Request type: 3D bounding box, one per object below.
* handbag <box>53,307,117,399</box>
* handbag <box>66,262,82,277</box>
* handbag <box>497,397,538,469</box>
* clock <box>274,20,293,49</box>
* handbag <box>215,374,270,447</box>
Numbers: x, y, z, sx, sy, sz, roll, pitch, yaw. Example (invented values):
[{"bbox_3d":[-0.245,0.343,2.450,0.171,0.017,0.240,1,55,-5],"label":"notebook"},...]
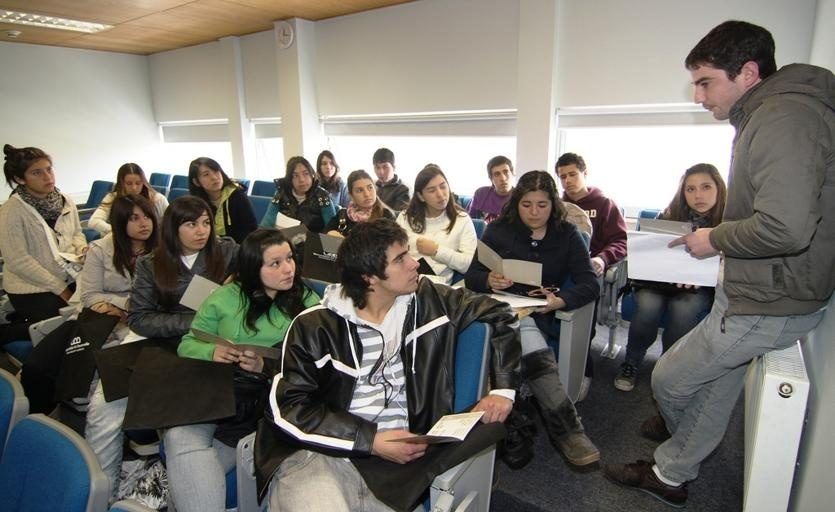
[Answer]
[{"bbox_3d":[-2.223,0.661,3.584,0.419,0.554,0.151,1,-24,29],"label":"handbag"},{"bbox_3d":[-2.861,0.110,4.421,0.060,0.114,0.086,-24,1,38],"label":"handbag"},{"bbox_3d":[0.691,1.156,3.639,0.207,0.368,0.591,-30,-4,11],"label":"handbag"},{"bbox_3d":[-1.802,-2.981,7.180,0.337,0.354,0.060,4,14,35],"label":"clock"},{"bbox_3d":[-1.011,0.890,3.101,0.297,0.413,0.125,6,-12,8],"label":"handbag"}]
